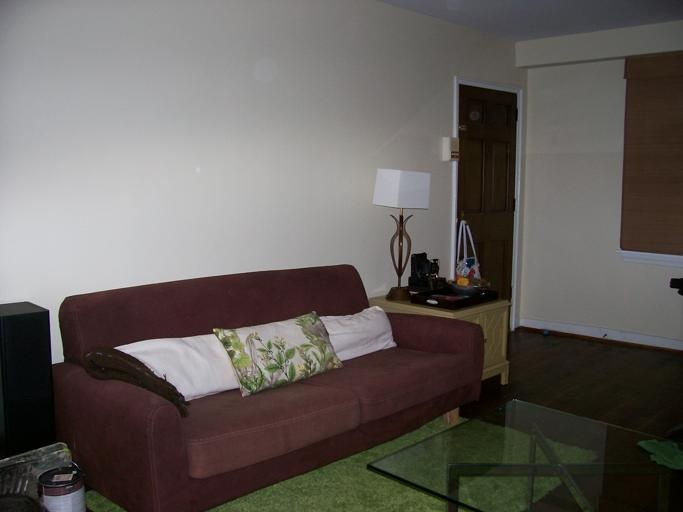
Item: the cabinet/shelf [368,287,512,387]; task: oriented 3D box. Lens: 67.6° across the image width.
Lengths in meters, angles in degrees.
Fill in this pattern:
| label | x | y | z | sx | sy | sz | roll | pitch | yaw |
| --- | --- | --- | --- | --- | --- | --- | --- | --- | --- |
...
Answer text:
| label | x | y | z | sx | sy | sz | roll | pitch | yaw |
| --- | --- | --- | --- | --- | --- | --- | --- | --- | --- |
| cabinet/shelf | 0.858 | 0.585 | 4.010 | 0.789 | 0.628 | 0.780 | -6 | 10 | -38 |
